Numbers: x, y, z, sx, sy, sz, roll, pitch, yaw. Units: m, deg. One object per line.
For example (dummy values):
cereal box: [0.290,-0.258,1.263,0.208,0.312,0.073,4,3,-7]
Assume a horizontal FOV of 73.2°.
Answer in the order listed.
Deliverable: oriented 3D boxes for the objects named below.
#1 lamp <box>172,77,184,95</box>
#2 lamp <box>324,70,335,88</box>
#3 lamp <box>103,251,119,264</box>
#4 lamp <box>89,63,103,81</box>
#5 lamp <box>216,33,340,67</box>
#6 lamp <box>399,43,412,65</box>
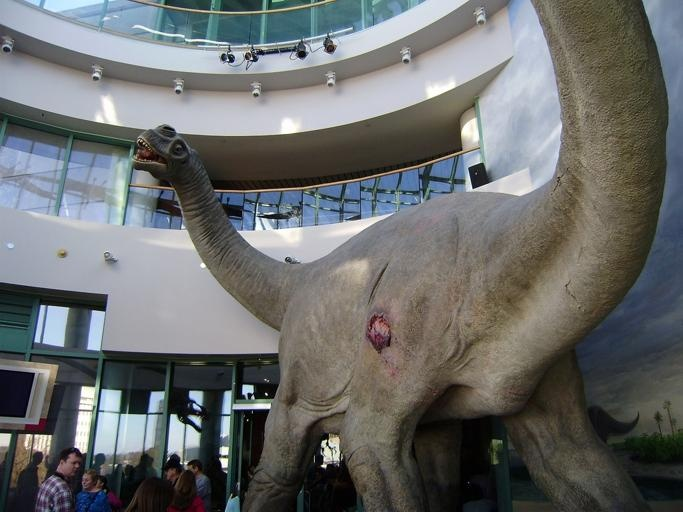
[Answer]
lamp: [-2.936,-2.960,7.995,0.150,0.330,0.309,-1,22,-1]
lamp: [-0.202,-3.028,7.944,0.170,0.254,0.091,-2,-12,5]
lamp: [-3.387,0.017,6.681,0.213,0.170,0.162,7,-20,-24]
lamp: [-4.142,-3.078,7.670,0.191,0.267,0.131,10,-17,-25]
lamp: [-1.108,-3.550,7.968,2.059,0.588,0.411,-4,-18,7]
lamp: [1.036,-3.270,7.520,0.233,0.301,0.250,1,-11,3]
